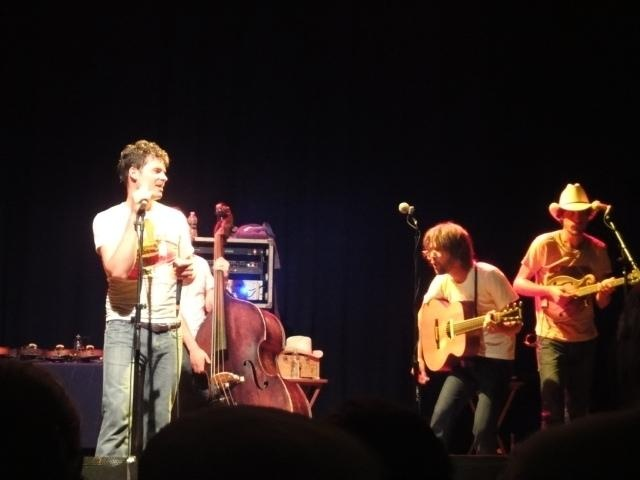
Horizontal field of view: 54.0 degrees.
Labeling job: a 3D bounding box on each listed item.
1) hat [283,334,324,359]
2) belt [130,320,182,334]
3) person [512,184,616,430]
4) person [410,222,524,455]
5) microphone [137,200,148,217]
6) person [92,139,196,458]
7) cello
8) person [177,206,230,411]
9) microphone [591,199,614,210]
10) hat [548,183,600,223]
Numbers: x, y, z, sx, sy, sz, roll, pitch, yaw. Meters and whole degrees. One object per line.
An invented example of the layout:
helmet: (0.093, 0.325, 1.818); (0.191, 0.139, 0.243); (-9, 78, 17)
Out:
hat: (-0.173, 1.050, 6.161); (0.401, 0.180, 0.451); (1, -10, 12)
belt: (-1.002, 0.540, 3.859); (0.281, 0.076, 0.036); (3, -9, -23)
person: (1.889, 0.446, 4.783); (0.641, 1.901, 0.598); (4, -9, -32)
person: (1.100, 0.714, 4.778); (0.585, 1.732, 0.837); (4, -9, -31)
microphone: (-1.062, -0.187, 3.787); (0.050, 0.095, 0.025); (2, -16, -1)
person: (-1.082, 0.320, 3.886); (0.610, 1.948, 0.430); (3, -8, -22)
cello: (-0.511, 0.743, 4.586); (0.783, 1.031, 0.416); (1, -8, -10)
person: (-0.911, 0.522, 4.901); (0.526, 1.522, 0.281); (5, -9, -7)
microphone: (2.503, -0.307, 5.560); (0.196, 0.096, 0.208); (4, -2, -7)
hat: (2.104, -0.331, 5.180); (0.402, 0.270, 0.587); (-5, -11, 18)
